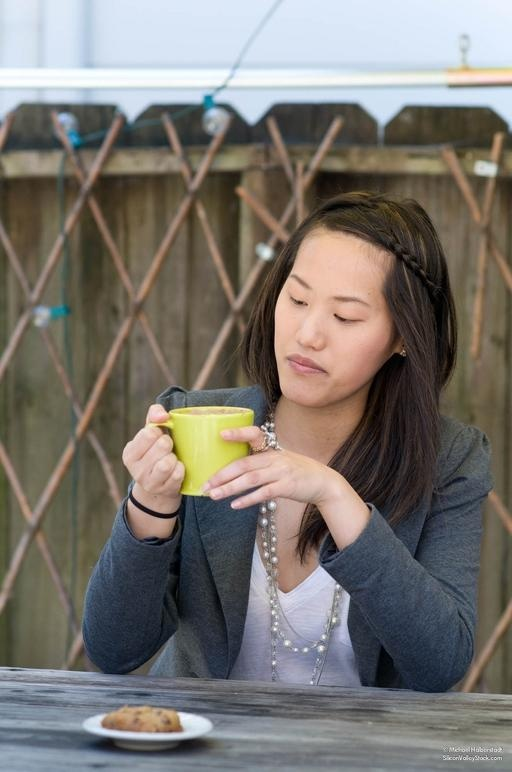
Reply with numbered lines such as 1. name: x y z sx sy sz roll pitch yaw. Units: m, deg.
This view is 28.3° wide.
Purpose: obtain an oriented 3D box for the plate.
1. plate: -0.114 0.338 1.054 0.099 0.039 0.102 -1 0 -27

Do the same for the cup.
1. cup: -0.062 0.079 1.228 0.125 0.099 0.126 4 2 0

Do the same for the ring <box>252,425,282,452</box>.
1. ring: 0.019 0.082 1.597 0.041 0.040 0.018 -2 5 4
